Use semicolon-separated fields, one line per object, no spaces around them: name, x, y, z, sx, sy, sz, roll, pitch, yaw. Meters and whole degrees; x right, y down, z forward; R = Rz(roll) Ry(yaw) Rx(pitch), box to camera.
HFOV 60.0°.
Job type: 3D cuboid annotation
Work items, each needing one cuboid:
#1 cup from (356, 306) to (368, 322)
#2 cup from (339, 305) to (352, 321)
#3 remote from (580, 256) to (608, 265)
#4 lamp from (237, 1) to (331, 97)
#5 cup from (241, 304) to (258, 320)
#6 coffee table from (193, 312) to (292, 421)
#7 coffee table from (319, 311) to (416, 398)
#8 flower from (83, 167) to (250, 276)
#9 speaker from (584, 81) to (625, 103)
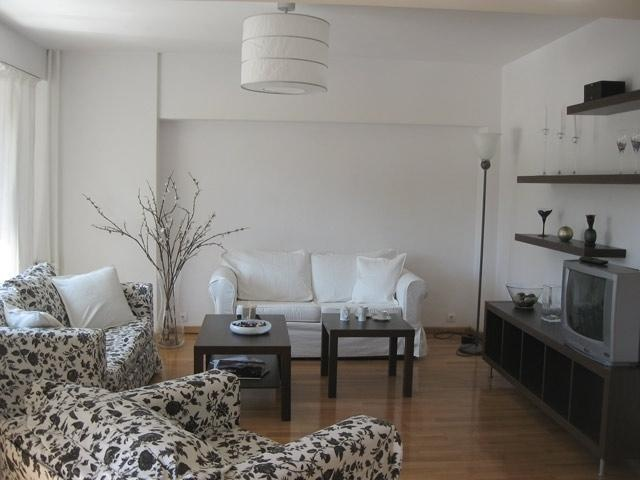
cup;0.369;0.668;4.927;0.110;0.119;0.090;0;0;10
cup;0.213;0.663;4.943;0.084;0.111;0.109;-1;-6;33
remote;2.086;0.159;4.239;0.045;0.111;0.152;-5;-1;-27
lamp;-0.253;-1.306;4.085;0.560;0.553;0.594;0;-3;12
cup;-0.620;0.627;4.805;0.106;0.118;0.117;-1;-3;0
coffee table;-0.586;0.824;4.436;0.595;0.488;1.029;2;6;-1
coffee table;0.395;0.961;4.885;0.672;0.557;0.676;1;2;-3
flower;-1.698;-0.155;6.101;1.499;1.100;0.369;-3;11;-22
speaker;2.208;-1.152;4.302;0.195;0.133;0.201;-1;-1;-19
